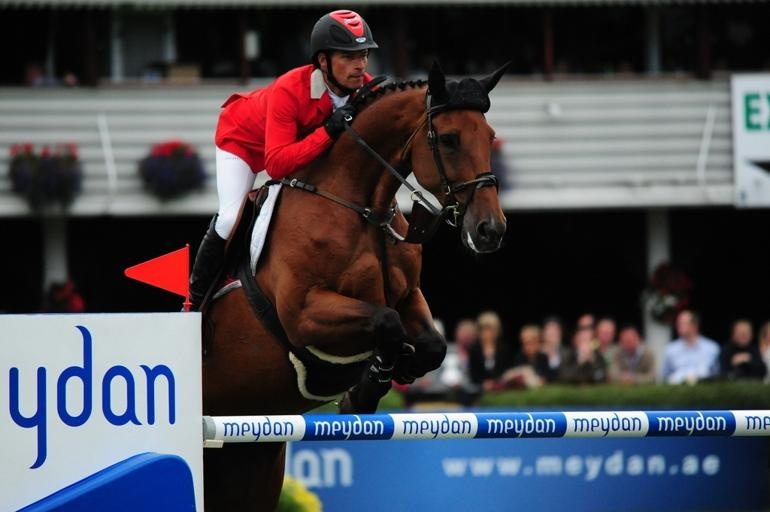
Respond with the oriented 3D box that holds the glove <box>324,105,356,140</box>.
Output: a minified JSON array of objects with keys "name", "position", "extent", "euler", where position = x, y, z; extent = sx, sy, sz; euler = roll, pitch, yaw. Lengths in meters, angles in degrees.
[{"name":"glove","position":[-0.312,-0.897,10.837],"extent":[0.140,0.242,0.073],"euler":[47,0,33]}]

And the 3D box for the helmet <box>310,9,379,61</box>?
[{"name":"helmet","position":[-0.279,-1.488,10.859],"extent":[0.297,0.212,0.401],"euler":[-2,-2,-41]}]
